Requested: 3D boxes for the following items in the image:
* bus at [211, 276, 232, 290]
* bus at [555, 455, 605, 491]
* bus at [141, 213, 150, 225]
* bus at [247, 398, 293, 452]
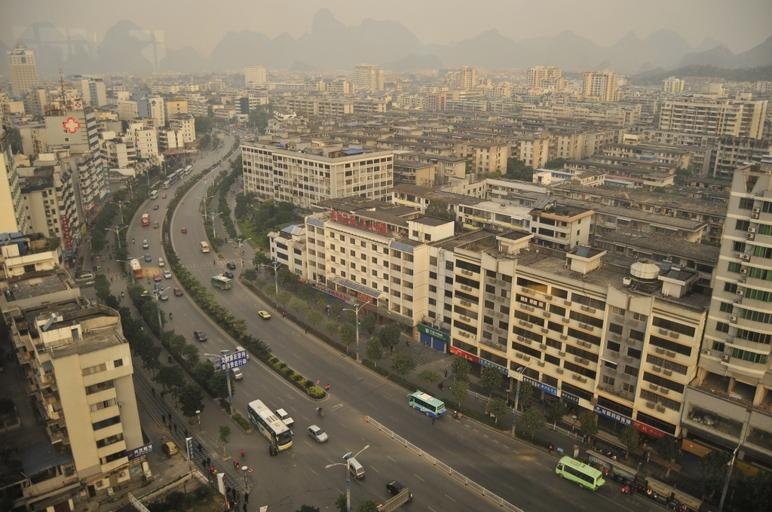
[{"bbox_3d":[-38.164,5.863,147.190,4.418,2.011,2.421,16,29,29],"label":"bus"},{"bbox_3d":[29.679,33.692,98.018,6.877,3.043,3.624,25,33,34],"label":"bus"},{"bbox_3d":[-68.734,-10.296,181.702,2.177,1.932,3.943,0,33,-15],"label":"bus"},{"bbox_3d":[-19.541,28.030,106.125,3.545,3.691,11.812,-17,26,-32],"label":"bus"}]
